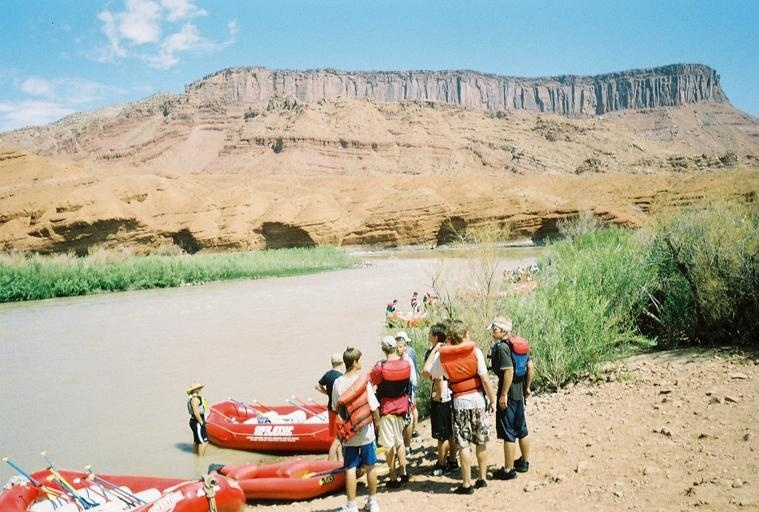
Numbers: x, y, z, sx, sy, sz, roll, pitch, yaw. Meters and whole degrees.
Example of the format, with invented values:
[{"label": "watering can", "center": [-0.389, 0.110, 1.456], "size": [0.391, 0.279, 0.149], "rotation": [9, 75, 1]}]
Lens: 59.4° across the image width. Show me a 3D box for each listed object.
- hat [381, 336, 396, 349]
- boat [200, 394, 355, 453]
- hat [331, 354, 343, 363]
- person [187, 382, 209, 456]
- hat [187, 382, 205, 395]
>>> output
[{"label": "hat", "center": [0.136, 1.372, 10.497], "size": [0.186, 0.137, 0.305], "rotation": [19, -1, 0]}, {"label": "boat", "center": [-2.087, 3.242, 12.676], "size": [1.814, 0.444, 1.176], "rotation": [-1, 3, 14]}, {"label": "hat", "center": [-0.724, 1.697, 11.128], "size": [0.147, 0.178, 0.187], "rotation": [2, -2, -1]}, {"label": "person", "center": [-3.381, 3.012, 12.389], "size": [0.330, 1.333, 0.434], "rotation": [-5, 4, -18]}, {"label": "hat", "center": [-3.441, 2.460, 12.473], "size": [0.360, 0.151, 0.409], "rotation": [-22, -18, -1]}]
